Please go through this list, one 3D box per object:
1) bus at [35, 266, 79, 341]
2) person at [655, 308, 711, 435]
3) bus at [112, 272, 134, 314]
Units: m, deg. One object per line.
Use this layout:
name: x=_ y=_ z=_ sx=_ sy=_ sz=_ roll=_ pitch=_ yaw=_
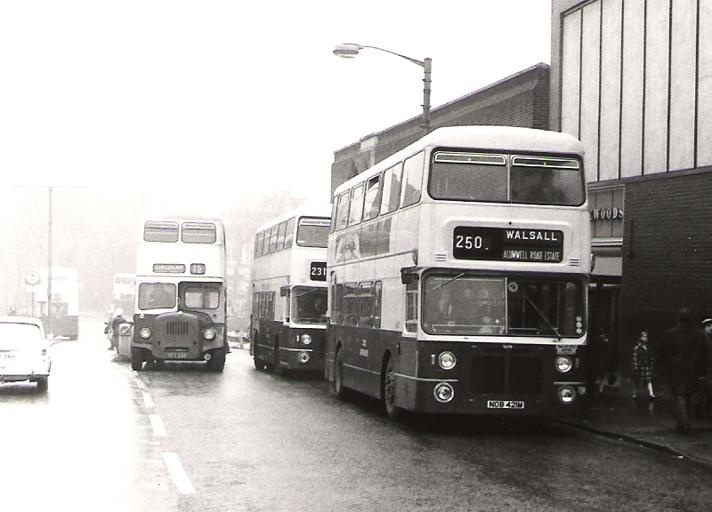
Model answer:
bus: x=-22.901 y=3.549 z=63.601 sx=2.875 sy=5.703 sz=6.157 roll=2 pitch=-6 yaw=-20
person: x=5.727 y=2.005 z=14.434 sx=0.831 sy=2.167 sz=0.522 roll=-1 pitch=-5 yaw=10
bus: x=-26.669 y=4.244 z=94.397 sx=3.841 sy=4.967 sz=9.195 roll=1 pitch=-4 yaw=-17
